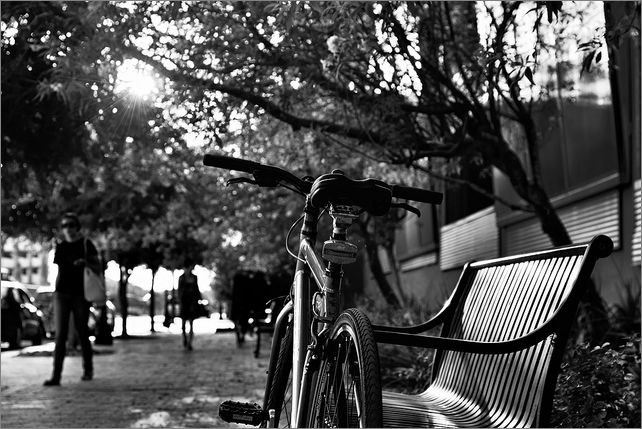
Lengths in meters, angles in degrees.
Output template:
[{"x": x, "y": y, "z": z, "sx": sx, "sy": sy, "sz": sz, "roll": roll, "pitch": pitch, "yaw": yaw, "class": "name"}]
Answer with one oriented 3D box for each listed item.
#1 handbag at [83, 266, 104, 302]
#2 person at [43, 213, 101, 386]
[{"x": -3.452, "y": 1.050, "z": 12.198, "sx": 0.107, "sy": 0.470, "sz": 0.411, "roll": -11, "pitch": -4, "yaw": 32, "class": "handbag"}, {"x": -3.772, "y": 1.254, "z": 12.260, "sx": 0.536, "sy": 2.611, "sz": 0.767, "roll": -9, "pitch": -11, "yaw": 38, "class": "person"}]
